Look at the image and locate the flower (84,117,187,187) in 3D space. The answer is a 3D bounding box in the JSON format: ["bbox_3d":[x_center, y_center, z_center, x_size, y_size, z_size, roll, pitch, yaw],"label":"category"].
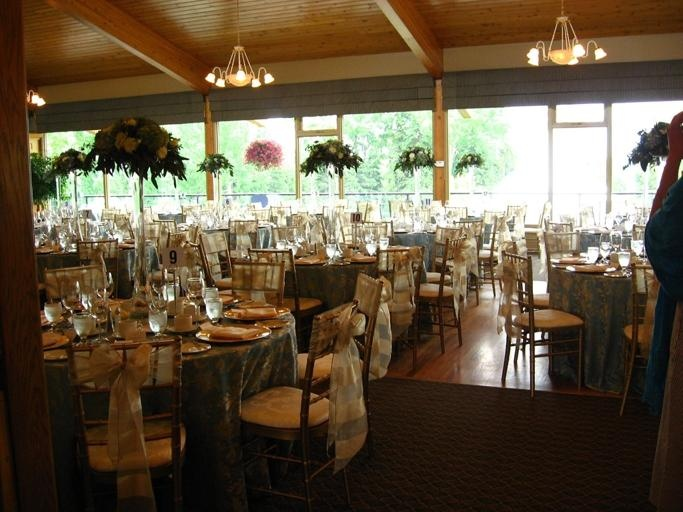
[{"bbox_3d":[-1.188,-0.591,3.151,0.518,0.394,0.380,3,10,22],"label":"flower"}]

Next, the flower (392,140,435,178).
[{"bbox_3d":[1.338,-1.749,10.047,0.622,0.488,0.670,-1,9,-1],"label":"flower"}]

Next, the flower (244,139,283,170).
[{"bbox_3d":[-1.779,-2.318,12.599,0.645,0.624,0.711,4,9,15],"label":"flower"}]

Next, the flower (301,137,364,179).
[{"bbox_3d":[-0.162,-1.242,6.902,0.520,0.444,0.606,-7,14,-19],"label":"flower"}]

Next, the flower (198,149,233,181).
[{"bbox_3d":[-2.538,-1.827,11.017,0.611,0.475,0.633,-4,9,-28],"label":"flower"}]

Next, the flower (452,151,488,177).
[{"bbox_3d":[2.410,-1.644,10.430,0.493,0.284,0.546,-28,22,-5],"label":"flower"}]
